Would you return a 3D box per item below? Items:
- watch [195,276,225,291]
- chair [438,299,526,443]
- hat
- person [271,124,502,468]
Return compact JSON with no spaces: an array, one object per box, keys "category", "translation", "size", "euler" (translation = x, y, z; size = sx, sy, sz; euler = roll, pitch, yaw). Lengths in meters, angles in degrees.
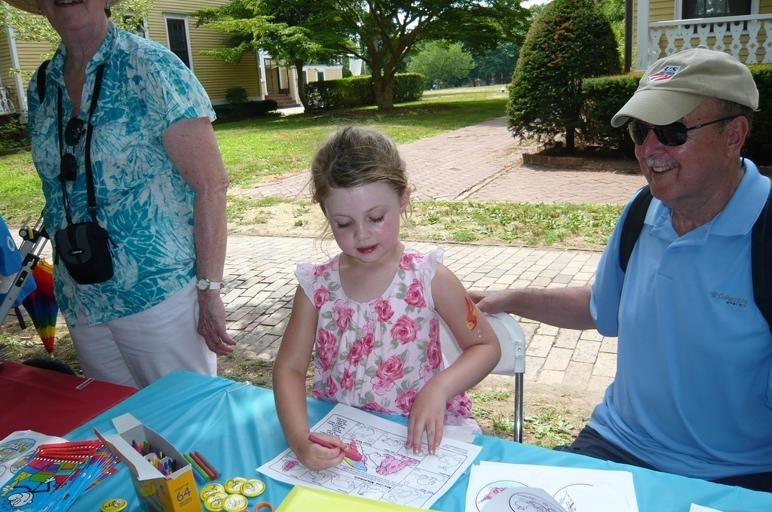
[{"category":"watch","translation":[-0.895,0.155,2.677],"size":[0.102,0.063,0.109],"euler":[7,3,30]},{"category":"chair","translation":[0.530,0.510,2.651],"size":[0.548,0.787,0.560],"euler":[0,9,14]},{"category":"hat","translation":[1.309,-0.743,2.280],"size":[0.603,0.295,0.413],"euler":[-7,15,-7]},{"category":"person","translation":[-0.039,0.299,2.167],"size":[0.919,1.510,0.916],"euler":[-1,14,13]}]
